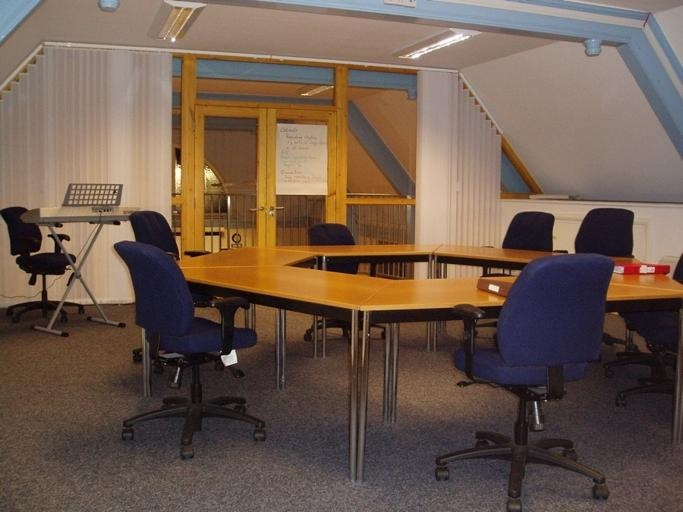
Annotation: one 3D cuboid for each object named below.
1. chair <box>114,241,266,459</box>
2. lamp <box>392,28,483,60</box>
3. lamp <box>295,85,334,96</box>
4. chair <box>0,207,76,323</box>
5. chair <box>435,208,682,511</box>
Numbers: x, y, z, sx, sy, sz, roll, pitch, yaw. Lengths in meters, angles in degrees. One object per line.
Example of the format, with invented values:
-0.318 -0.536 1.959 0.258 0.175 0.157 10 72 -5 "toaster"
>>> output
-1.133 0.509 4.771 1.352 1.665 1.346 -3 5 -36 "chair"
1.149 -2.509 7.347 0.594 0.149 1.411 -3 12 -18 "lamp"
-0.360 -2.276 8.560 0.472 0.163 0.162 0 12 -5 "lamp"
-3.450 0.090 6.981 0.703 1.285 1.002 -10 17 -41 "chair"
1.130 0.631 4.189 1.390 2.069 1.378 -1 5 -17 "chair"
